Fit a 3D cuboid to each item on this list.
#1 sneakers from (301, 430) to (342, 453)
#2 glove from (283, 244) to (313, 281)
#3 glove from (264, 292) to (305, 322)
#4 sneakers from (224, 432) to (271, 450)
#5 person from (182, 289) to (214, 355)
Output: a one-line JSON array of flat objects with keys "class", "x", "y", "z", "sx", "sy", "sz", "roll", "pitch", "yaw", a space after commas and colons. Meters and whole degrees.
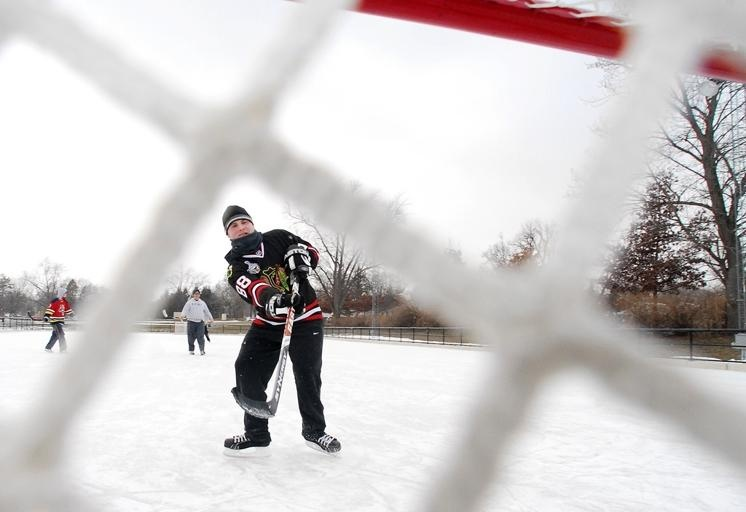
[{"class": "sneakers", "x": -0.367, "y": 1.349, "z": 3.998, "sx": 0.112, "sy": 0.112, "sz": 0.310, "roll": 5, "pitch": -10, "yaw": -42}, {"class": "glove", "x": -0.562, "y": 0.050, "z": 4.099, "sx": 0.202, "sy": 0.255, "sz": 0.250, "roll": -2, "pitch": -3, "yaw": -12}, {"class": "glove", "x": -0.625, "y": 0.372, "z": 3.928, "sx": 0.256, "sy": 0.204, "sz": 0.489, "roll": 2, "pitch": -5, "yaw": -6}, {"class": "sneakers", "x": -0.909, "y": 1.324, "z": 3.981, "sx": 0.317, "sy": 0.123, "sz": 0.125, "roll": 6, "pitch": -9, "yaw": -12}, {"class": "person", "x": -3.936, "y": 1.449, "z": 12.207, "sx": 0.724, "sy": 1.414, "sz": 0.484, "roll": 4, "pitch": -18, "yaw": -32}]
